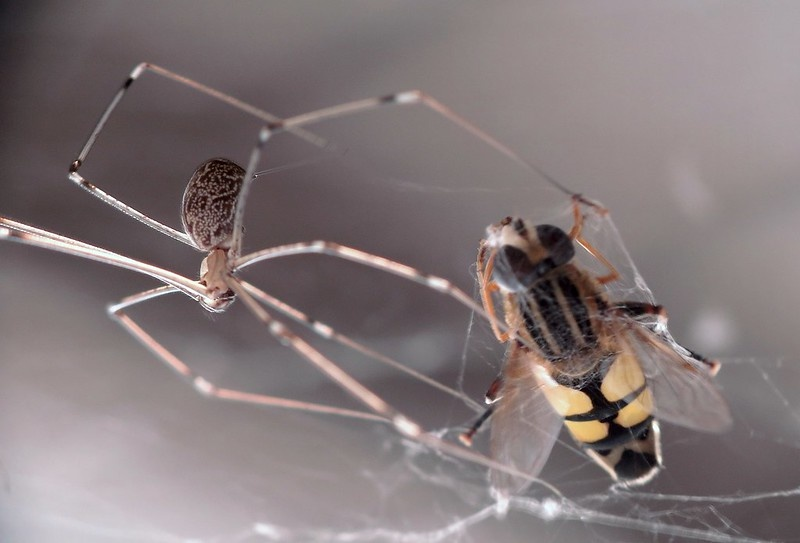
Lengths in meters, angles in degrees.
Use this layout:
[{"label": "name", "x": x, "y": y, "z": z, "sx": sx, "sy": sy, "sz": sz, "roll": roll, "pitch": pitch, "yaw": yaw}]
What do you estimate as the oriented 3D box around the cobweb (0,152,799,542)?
[{"label": "cobweb", "x": -0.071, "y": -0.002, "z": 2.194, "sx": 1.482, "sy": 0.358, "sz": 1.089, "roll": 4, "pitch": -75, "yaw": 5}]
